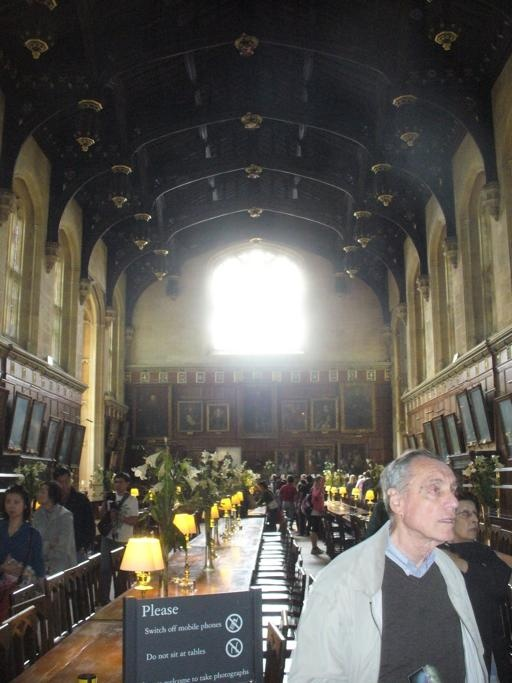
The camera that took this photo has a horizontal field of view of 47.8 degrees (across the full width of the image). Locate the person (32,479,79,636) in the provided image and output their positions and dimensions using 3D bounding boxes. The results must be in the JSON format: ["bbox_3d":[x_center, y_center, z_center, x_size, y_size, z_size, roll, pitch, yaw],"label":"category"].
[{"bbox_3d":[-1.859,1.851,5.342,0.383,1.086,0.417,-5,0,40],"label":"person"}]
